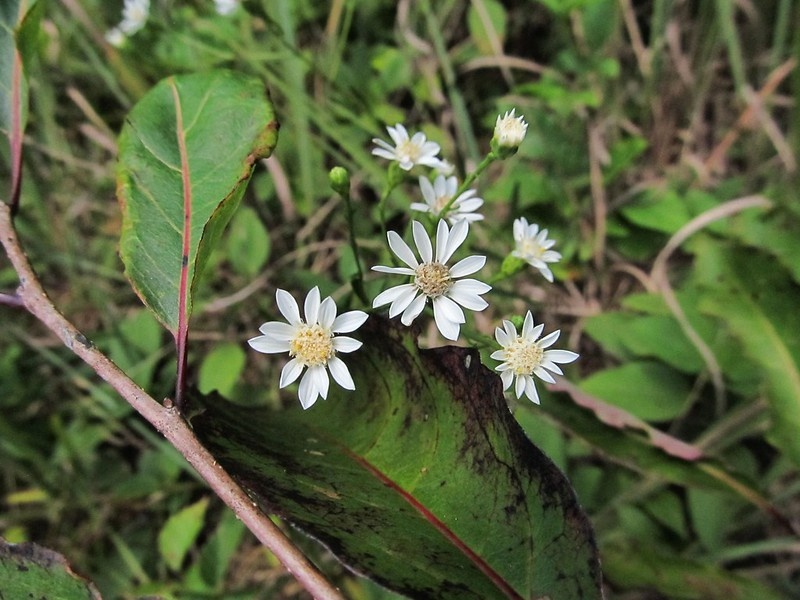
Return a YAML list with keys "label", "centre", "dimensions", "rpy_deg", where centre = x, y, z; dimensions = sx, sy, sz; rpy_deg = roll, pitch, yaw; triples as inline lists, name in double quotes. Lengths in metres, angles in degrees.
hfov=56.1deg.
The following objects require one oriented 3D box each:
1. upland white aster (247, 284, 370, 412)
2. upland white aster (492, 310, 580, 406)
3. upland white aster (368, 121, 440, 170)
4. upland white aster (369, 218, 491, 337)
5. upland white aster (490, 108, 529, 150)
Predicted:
- label: "upland white aster"
  centre: [-0.208, 0.096, 1.713]
  dimensions: [0.295, 0.133, 0.301]
  rpy_deg: [11, 28, 2]
- label: "upland white aster"
  centre: [0.296, 0.121, 1.780]
  dimensions: [0.252, 0.098, 0.240]
  rpy_deg: [-8, 21, -24]
- label: "upland white aster"
  centre: [0.017, -0.395, 1.901]
  dimensions: [0.125, 0.170, 0.045]
  rpy_deg: [4, 82, 17]
- label: "upland white aster"
  centre: [0.075, -0.056, 1.717]
  dimensions: [0.261, 0.159, 0.254]
  rpy_deg: [5, 55, 6]
- label: "upland white aster"
  centre: [0.268, -0.426, 1.840]
  dimensions: [0.082, 0.066, 0.105]
  rpy_deg: [-16, 68, 14]
